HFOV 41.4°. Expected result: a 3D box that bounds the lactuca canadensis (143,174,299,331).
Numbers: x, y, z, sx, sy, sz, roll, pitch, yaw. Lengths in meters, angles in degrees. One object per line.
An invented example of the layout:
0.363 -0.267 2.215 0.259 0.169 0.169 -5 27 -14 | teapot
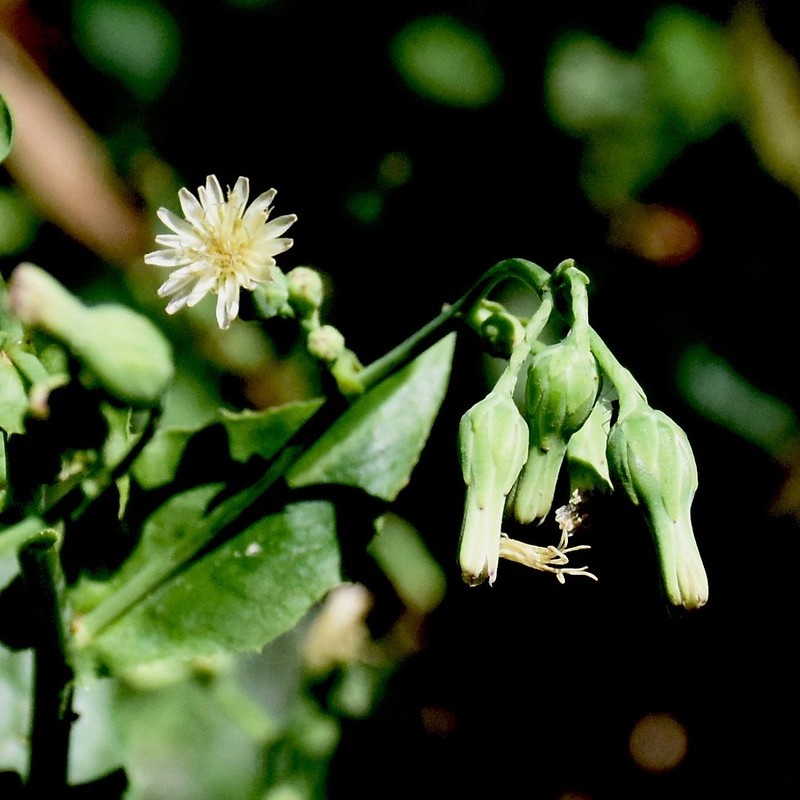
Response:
-0.159 -0.136 0.918 0.118 0.095 0.110 -21 49 -33 | lactuca canadensis

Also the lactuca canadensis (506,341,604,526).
0.117 0.033 0.823 0.048 0.158 0.048 9 2 -37 | lactuca canadensis

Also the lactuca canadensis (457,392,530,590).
0.074 0.061 0.817 0.044 0.038 0.156 16 72 -29 | lactuca canadensis

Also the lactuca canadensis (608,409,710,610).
0.197 0.071 0.791 0.046 0.056 0.167 -15 88 -52 | lactuca canadensis
